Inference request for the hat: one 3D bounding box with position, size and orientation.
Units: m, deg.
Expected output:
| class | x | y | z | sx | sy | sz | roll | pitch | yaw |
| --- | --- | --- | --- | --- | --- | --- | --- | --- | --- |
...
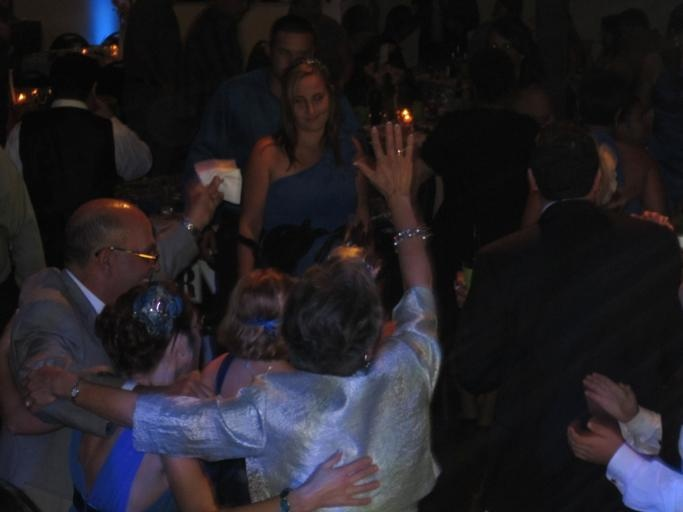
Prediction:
| class | x | y | z | sx | sy | sz | roll | pitch | yaw |
| --- | --- | --- | --- | --- | --- | --- | --- | --- | --- |
| hat | -0.667 | 0.243 | 2.237 | 0.223 | 0.281 | 0.313 | -4 | -5 | 14 |
